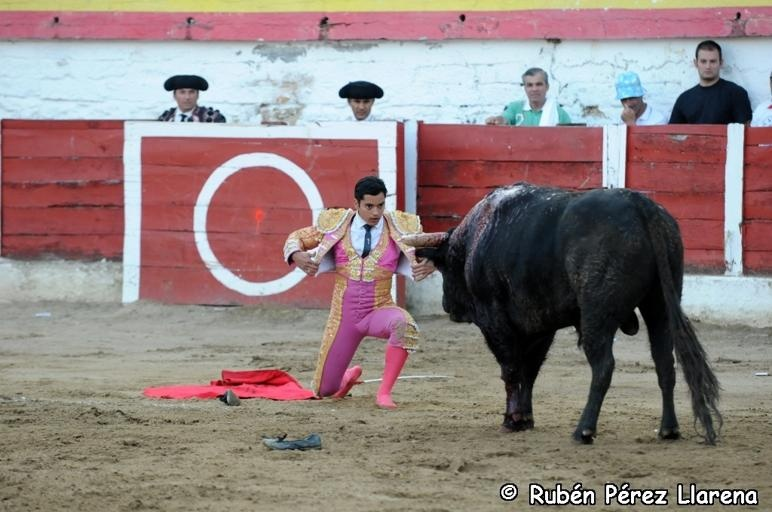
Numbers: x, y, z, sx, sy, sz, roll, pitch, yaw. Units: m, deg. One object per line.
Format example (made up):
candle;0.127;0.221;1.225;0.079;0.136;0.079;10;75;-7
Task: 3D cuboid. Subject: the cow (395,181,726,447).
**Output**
cow;1.343;0.417;10.910;1.957;1.820;0.587;3;7;36

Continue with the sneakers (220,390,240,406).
sneakers;-1.208;1.095;11.568;0.139;0.067;0.112;16;-17;48

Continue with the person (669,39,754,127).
person;3.114;-1.663;14.302;0.703;0.787;0.425;3;7;38

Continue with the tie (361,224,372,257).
tie;-0.145;-0.118;11.807;0.071;0.246;0.053;-1;6;3

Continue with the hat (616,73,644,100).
hat;2.329;-1.639;14.468;0.249;0.142;0.286;-3;2;7

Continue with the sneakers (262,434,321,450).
sneakers;-0.664;1.332;10.736;0.423;0.082;0.220;-1;5;-5
